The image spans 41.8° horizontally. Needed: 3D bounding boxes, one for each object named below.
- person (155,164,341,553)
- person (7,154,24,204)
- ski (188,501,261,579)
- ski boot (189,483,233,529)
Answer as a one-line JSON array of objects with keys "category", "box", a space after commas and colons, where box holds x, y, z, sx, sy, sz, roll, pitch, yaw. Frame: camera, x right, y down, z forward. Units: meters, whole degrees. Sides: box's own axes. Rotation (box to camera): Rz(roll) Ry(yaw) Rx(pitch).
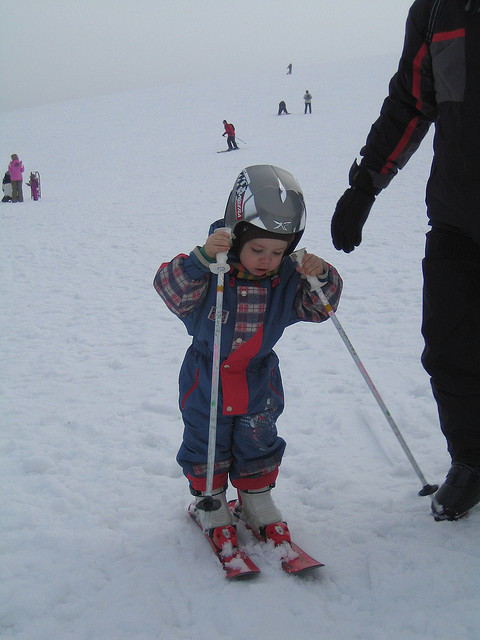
[{"category": "person", "box": [0.048, 0.130, 2.274, 0.637, 1.353, 0.557, -5, 16, -16]}, {"category": "person", "box": [-4.525, -2.870, 12.762, 0.250, 0.826, 0.419, -6, 16, -18]}, {"category": "ski", "box": [-0.036, 0.746, 2.175, 0.112, 0.057, 0.378, -4, 12, -17]}, {"category": "ski boot", "box": [-0.125, 0.677, 2.323, 0.085, 0.148, 0.235, -1, 7, -11]}]
